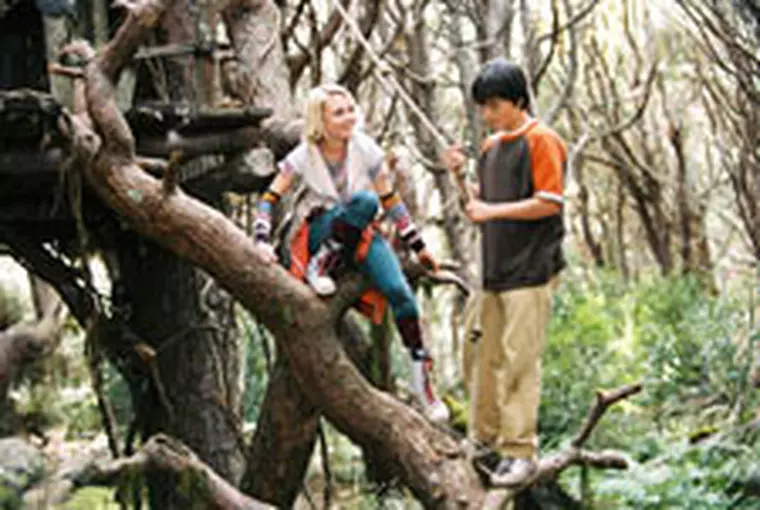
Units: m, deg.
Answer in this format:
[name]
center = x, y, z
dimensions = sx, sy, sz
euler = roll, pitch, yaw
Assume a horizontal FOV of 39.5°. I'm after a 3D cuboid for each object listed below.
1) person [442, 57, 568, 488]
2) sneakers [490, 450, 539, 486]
[person]
center = 1.212, 0.135, 9.807
dimensions = 1.012, 3.830, 0.753
euler = 0, 6, 10
[sneakers]
center = 1.226, 1.952, 9.727
dimensions = 0.444, 0.217, 0.194
euler = -21, 10, -37
